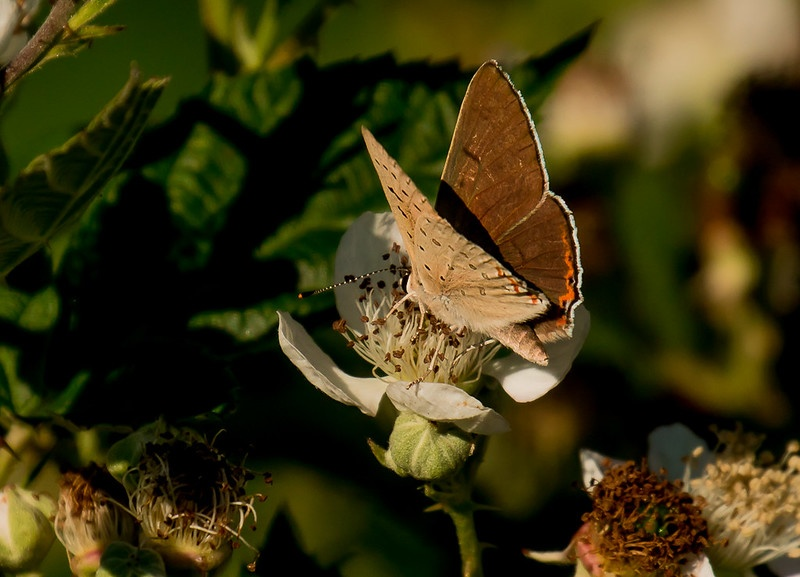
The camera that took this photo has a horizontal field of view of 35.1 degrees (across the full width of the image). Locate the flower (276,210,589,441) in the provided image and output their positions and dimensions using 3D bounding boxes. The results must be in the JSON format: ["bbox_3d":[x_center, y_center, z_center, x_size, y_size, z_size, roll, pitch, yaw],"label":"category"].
[{"bbox_3d":[0.125,0.120,2.962,0.561,0.406,0.657,10,-7,12],"label":"flower"}]
